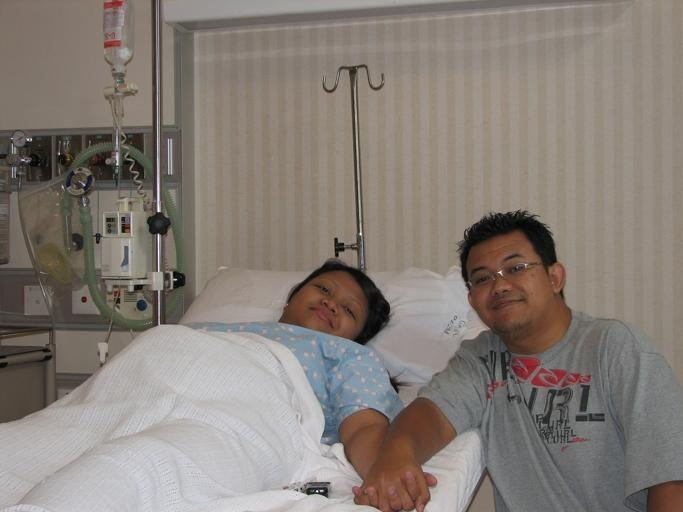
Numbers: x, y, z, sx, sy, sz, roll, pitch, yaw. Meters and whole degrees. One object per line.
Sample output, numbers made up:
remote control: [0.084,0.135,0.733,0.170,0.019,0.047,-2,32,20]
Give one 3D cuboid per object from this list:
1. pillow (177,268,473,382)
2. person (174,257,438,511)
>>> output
pillow: [0.023,0.243,3.127,0.871,0.224,0.625,7,35,13]
person: [-0.150,0.573,2.669,0.698,1.157,0.325,-3,-42,39]
